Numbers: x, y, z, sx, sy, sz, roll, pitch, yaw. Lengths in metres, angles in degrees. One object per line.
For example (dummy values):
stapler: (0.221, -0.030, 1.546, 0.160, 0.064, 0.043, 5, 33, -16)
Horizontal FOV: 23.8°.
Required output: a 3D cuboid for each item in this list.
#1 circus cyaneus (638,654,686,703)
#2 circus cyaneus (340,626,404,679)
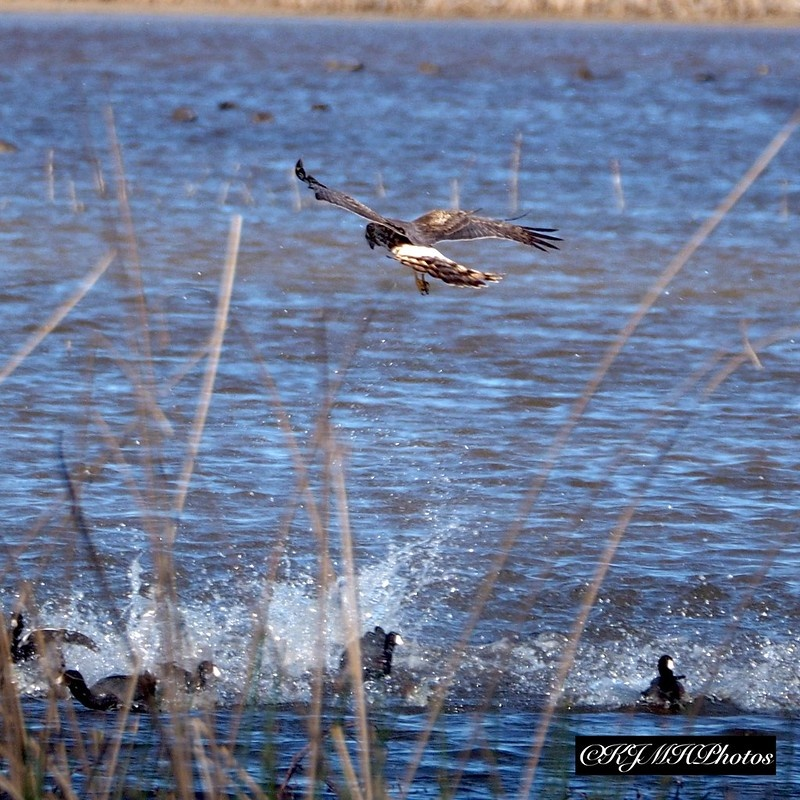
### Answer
circus cyaneus: (2.520, 2.752, 18.115, 0.458, 0.412, 0.583, -1, 33, 14)
circus cyaneus: (-0.188, 2.481, 18.505, 0.398, 0.389, 0.676, -1, 16, 0)
